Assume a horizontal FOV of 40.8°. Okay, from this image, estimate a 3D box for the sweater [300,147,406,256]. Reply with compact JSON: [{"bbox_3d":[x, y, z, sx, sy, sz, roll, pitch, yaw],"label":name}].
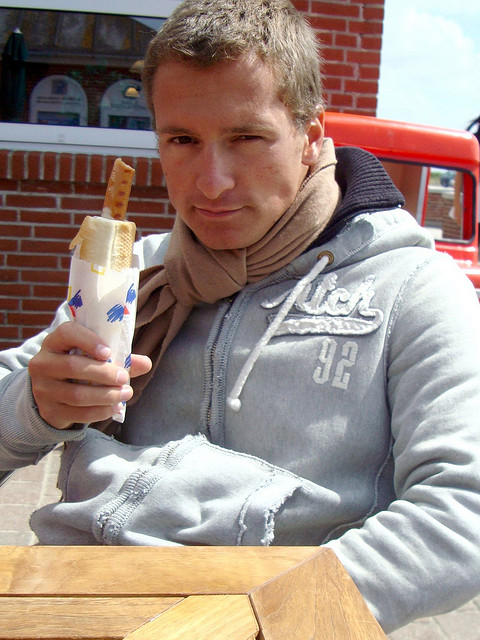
[{"bbox_3d":[0.314,-0.277,1.565,0.330,0.131,0.241,-28,40,-33],"label":"sweater"}]
